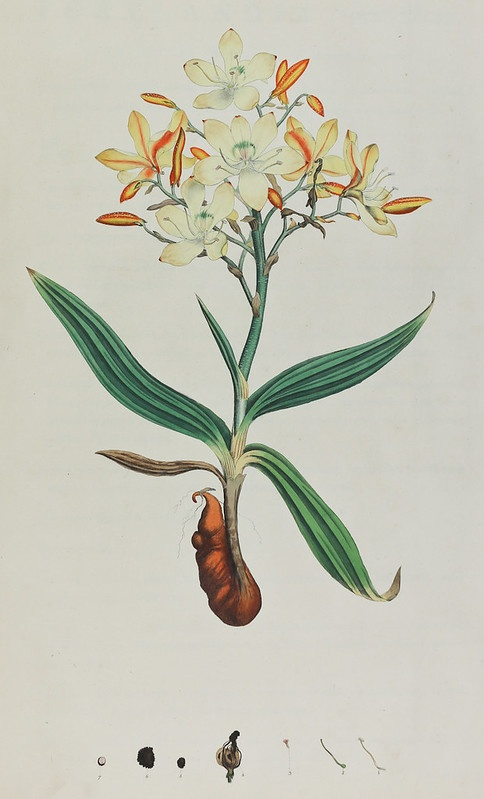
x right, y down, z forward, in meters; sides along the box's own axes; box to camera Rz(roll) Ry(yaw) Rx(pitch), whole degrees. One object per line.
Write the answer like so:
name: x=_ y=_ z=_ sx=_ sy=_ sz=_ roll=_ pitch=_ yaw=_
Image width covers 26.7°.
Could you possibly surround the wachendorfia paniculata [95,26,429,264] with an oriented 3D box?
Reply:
wachendorfia paniculata: x=0.007 y=-0.465 z=2.162 sx=0.489 sy=0.483 sz=0.173 roll=7 pitch=4 yaw=-1
